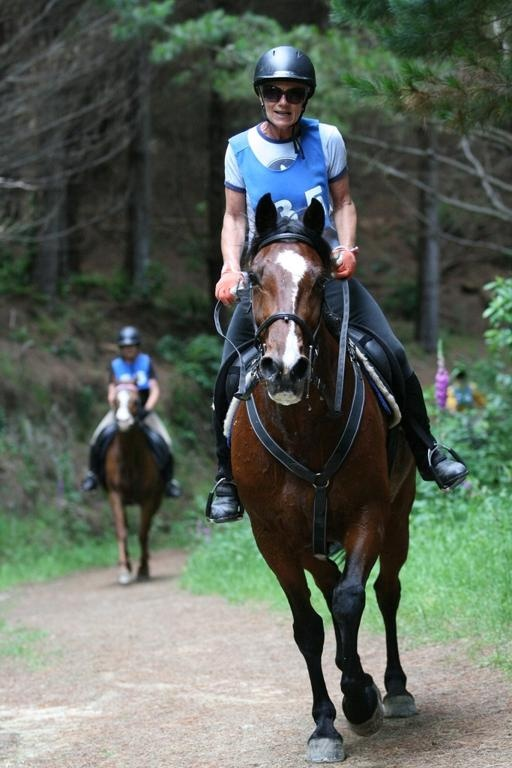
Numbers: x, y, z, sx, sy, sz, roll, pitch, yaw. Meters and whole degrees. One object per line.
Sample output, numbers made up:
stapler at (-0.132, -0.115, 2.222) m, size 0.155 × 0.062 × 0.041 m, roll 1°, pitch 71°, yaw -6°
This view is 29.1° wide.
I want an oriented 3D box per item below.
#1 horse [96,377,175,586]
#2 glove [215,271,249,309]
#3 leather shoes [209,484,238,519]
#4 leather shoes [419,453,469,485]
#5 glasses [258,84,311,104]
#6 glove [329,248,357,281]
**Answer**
horse at (-0.680, 0.621, 5.562) m, size 0.225 × 1.010 × 0.539 m, roll -1°, pitch 1°, yaw 15°
glove at (-0.076, -0.426, 4.332) m, size 0.128 × 0.158 × 0.063 m, roll -11°, pitch -44°, yaw 47°
leather shoes at (-0.167, 0.680, 5.589) m, size 0.153 × 0.183 × 0.212 m, roll -1°, pitch -14°, yaw 3°
leather shoes at (1.044, 0.470, 5.457) m, size 0.132 × 0.155 × 0.346 m, roll -37°, pitch -2°, yaw -6°
glasses at (0.146, -1.378, 4.729) m, size 0.150 × 0.039 × 0.134 m, roll 2°, pitch -4°, yaw -2°
glove at (0.390, -0.526, 4.401) m, size 0.122 × 0.132 × 0.070 m, roll -1°, pitch -1°, yaw -19°
